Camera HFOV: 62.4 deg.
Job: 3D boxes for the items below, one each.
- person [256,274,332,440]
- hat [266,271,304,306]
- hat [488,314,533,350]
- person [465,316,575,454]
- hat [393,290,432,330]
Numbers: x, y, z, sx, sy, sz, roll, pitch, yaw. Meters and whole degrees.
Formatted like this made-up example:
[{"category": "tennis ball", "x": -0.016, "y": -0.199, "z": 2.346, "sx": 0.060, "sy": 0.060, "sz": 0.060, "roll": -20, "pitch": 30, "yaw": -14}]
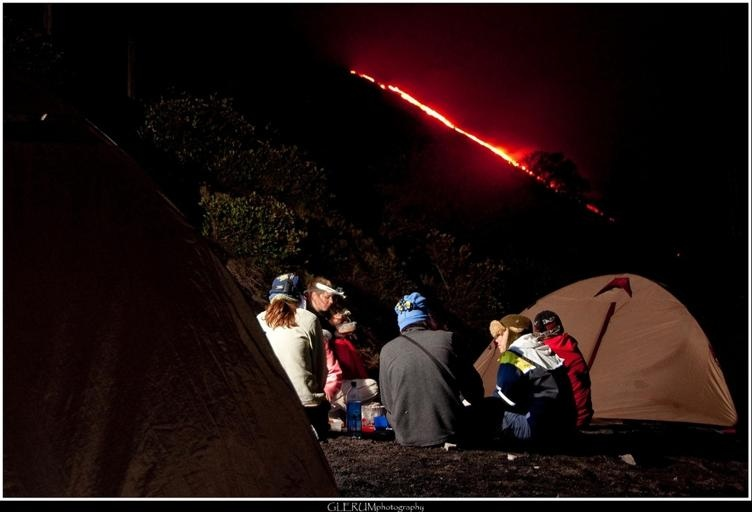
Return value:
[{"category": "person", "x": -0.911, "y": 1.112, "z": 7.060, "sx": 0.737, "sy": 1.960, "sz": 0.543, "roll": -2, "pitch": -14, "yaw": -24}, {"category": "hat", "x": -1.124, "y": 0.382, "z": 7.350, "sx": 0.333, "sy": 0.523, "sz": 0.467, "roll": 1, "pitch": 0, "yaw": 12}, {"category": "hat", "x": 1.671, "y": 0.945, "z": 7.691, "sx": 0.473, "sy": 0.440, "sz": 0.401, "roll": 4, "pitch": -5, "yaw": 20}, {"category": "person", "x": 1.610, "y": 1.349, "z": 7.124, "sx": 1.173, "sy": 1.401, "sz": 1.175, "roll": -11, "pitch": -19, "yaw": 42}, {"category": "hat", "x": 0.433, "y": 0.642, "z": 7.083, "sx": 0.389, "sy": 0.464, "sz": 0.489, "roll": -14, "pitch": -27, "yaw": 22}]
